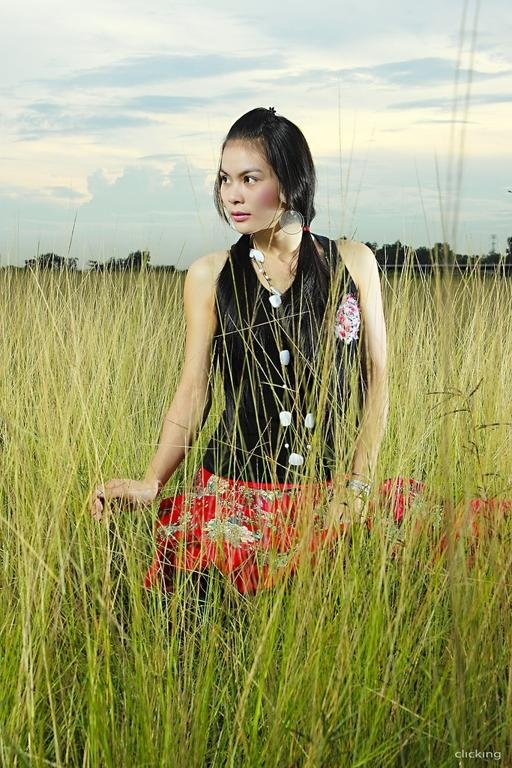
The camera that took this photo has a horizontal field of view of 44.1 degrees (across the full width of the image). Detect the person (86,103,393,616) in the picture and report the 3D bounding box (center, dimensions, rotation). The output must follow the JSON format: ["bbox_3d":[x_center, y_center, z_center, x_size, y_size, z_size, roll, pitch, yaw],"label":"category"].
[{"bbox_3d":[0.016,-0.105,1.159,0.467,0.913,0.701,1,2,21],"label":"person"}]
